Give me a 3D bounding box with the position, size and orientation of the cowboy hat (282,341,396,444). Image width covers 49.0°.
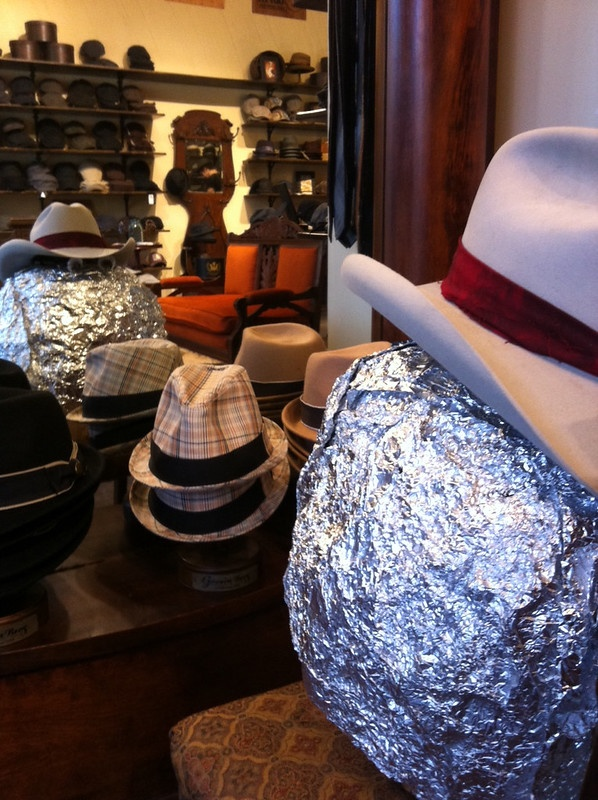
[{"bbox_3d":[0.043,-0.009,1.332,0.202,0.085,0.231,-9,10,5],"label":"cowboy hat"}]

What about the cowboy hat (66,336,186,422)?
[{"bbox_3d":[-0.359,-0.040,1.407,0.170,0.100,0.239,10,18,26],"label":"cowboy hat"}]
